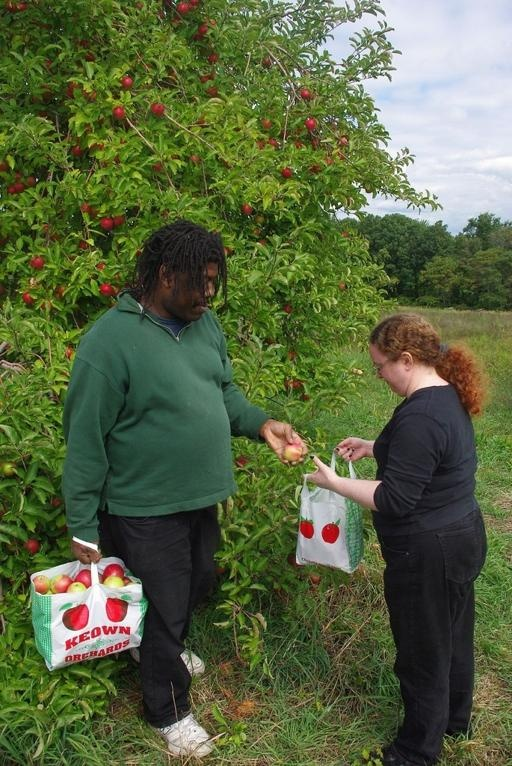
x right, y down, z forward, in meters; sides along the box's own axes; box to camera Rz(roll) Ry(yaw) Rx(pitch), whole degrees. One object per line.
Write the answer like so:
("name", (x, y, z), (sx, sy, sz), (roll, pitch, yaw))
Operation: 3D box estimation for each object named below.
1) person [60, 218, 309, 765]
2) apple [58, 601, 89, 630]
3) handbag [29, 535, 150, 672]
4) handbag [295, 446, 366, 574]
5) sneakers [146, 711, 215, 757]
("person", (-0.316, 0.407, 2.320), (0.785, 1.961, 0.409), (-1, 11, -27))
("apple", (-0.596, 0.751, 2.038), (0.077, 0.100, 0.059), (28, -3, -15))
("handbag", (-0.566, 0.736, 2.168), (0.386, 0.441, 0.251), (0, 10, -19))
("handbag", (0.201, 0.543, 2.517), (0.269, 0.406, 0.229), (14, -23, -32))
("sneakers", (-0.290, 1.337, 2.414), (0.219, 0.097, 0.096), (11, 56, 37))
